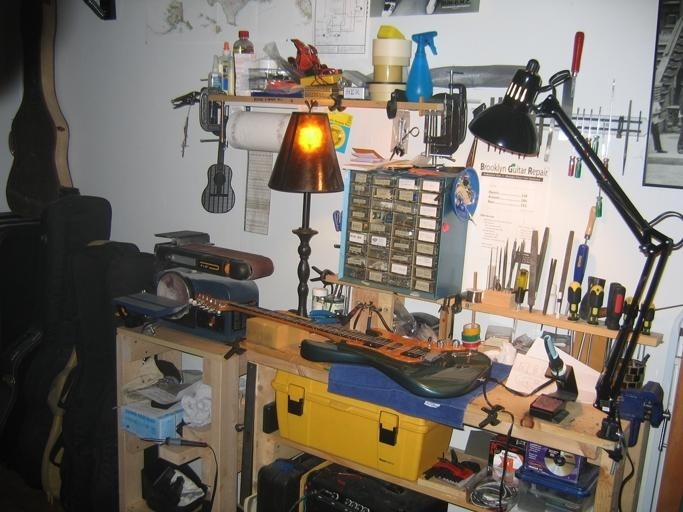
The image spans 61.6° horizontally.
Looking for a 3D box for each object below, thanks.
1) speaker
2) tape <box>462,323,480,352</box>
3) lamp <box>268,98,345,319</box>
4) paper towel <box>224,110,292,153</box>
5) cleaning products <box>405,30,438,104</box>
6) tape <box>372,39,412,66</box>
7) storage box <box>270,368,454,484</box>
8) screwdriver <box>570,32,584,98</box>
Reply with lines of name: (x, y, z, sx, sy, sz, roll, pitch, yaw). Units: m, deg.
speaker: (-0.729, 0.236, 2.965, 0.523, 0.326, 0.221, 12, 14, 27)
tape: (0.554, 0.350, 2.490, 0.091, 0.099, 0.095, -3, 11, -14)
lamp: (-0.155, -0.223, 2.667, 0.262, 0.986, 0.282, -16, 25, -43)
paper towel: (-0.434, -0.631, 2.886, 0.399, 0.241, 0.177, 7, 16, 24)
cleaning products: (0.376, -0.850, 2.576, 0.119, 0.319, 0.200, 10, 13, 24)
tape: (0.231, -0.889, 2.558, 0.124, 0.082, 0.129, -5, 15, -20)
storage box: (0.069, 0.668, 2.635, 0.713, 0.358, 0.454, 12, 20, 23)
screwdriver: (0.975, -0.801, 2.401, 0.033, 0.242, 0.034, -5, 15, -23)
